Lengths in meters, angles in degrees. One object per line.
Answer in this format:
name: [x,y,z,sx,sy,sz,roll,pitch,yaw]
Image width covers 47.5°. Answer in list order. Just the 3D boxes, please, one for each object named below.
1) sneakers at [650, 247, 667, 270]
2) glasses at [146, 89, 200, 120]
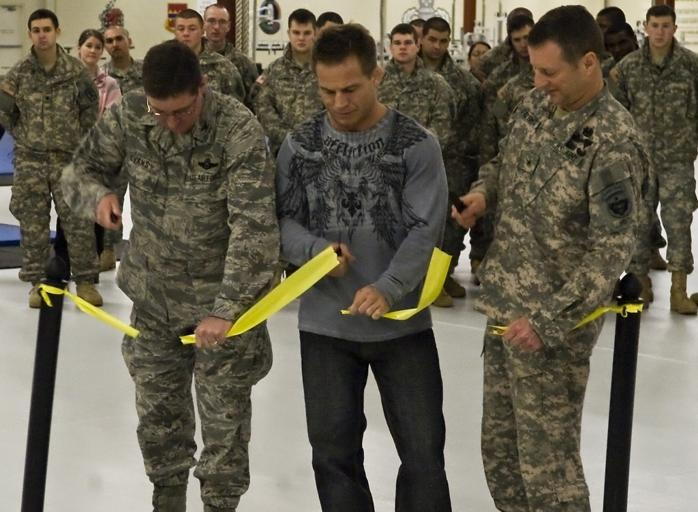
sneakers: [3.028,0.036,7.776,0.153,0.208,0.115,0,1,6]
glasses: [-0.632,-0.546,2.866,0.124,0.042,0.121,-3,26,-1]
